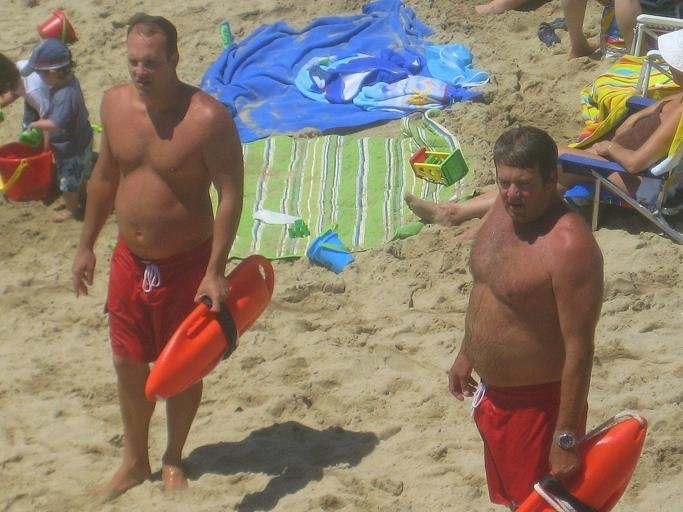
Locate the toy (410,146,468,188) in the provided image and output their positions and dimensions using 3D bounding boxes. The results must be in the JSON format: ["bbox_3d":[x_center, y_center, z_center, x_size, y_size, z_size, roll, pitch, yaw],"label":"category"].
[{"bbox_3d":[0.775,-0.751,9.907,0.294,0.235,0.489,-41,30,-25],"label":"toy"}]

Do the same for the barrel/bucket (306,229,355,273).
[{"bbox_3d":[-0.074,-0.037,9.487,0.311,0.308,0.309,35,7,-5],"label":"barrel/bucket"}]

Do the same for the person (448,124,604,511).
[{"bbox_3d":[1.078,0.382,6.844,0.801,2.164,0.628,7,20,27],"label":"person"}]

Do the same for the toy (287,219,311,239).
[{"bbox_3d":[-0.355,-0.241,9.928,0.179,0.127,0.237,-3,18,-2],"label":"toy"}]

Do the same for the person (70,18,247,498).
[{"bbox_3d":[-1.135,-0.027,7.569,1.081,2.923,0.771,-6,18,-12],"label":"person"}]

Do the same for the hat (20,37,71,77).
[{"bbox_3d":[-2.559,-1.755,10.311,0.481,0.235,0.343,-9,29,-8],"label":"hat"}]

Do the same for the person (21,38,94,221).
[{"bbox_3d":[-2.514,-1.133,10.610,0.710,1.525,0.590,-20,36,-40],"label":"person"}]
